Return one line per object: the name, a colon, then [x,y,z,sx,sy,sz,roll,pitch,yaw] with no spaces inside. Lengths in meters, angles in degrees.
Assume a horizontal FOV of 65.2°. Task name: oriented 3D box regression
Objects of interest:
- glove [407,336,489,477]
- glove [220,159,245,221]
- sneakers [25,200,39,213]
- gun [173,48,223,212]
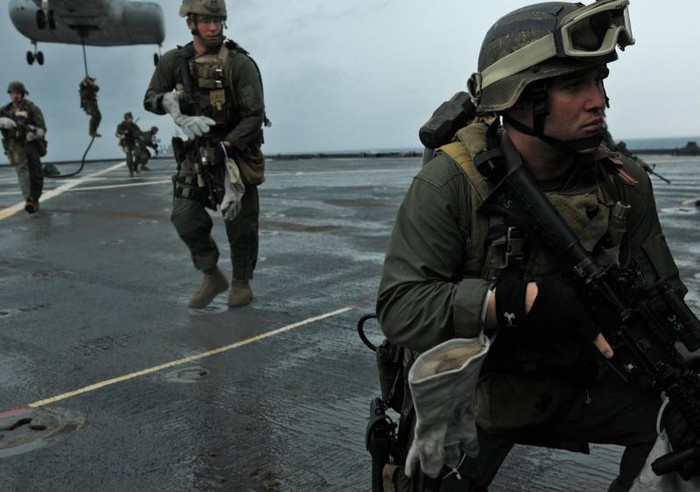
glove: [0.350,0.608,1.983,0.297,0.570,0.232,0,12,6]
glove: [-1.176,-0.558,5.471,0.255,0.632,0.241,-4,13,-14]
sneakers: [-7.531,-0.926,12.988,0.191,0.180,0.409,-8,-6,-25]
gun: [-1.467,-1.063,5.566,0.474,1.733,0.685,-7,12,-8]
